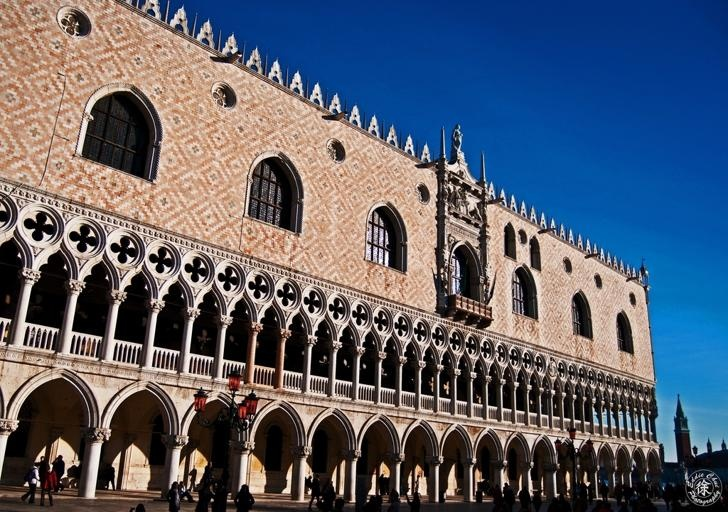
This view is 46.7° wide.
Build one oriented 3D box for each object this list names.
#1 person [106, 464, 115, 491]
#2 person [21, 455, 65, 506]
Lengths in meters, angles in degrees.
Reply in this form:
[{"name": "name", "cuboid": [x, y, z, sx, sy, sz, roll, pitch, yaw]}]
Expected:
[{"name": "person", "cuboid": [-8.838, 7.764, 29.566, 0.246, 0.877, 0.626, 3, -27, -5]}, {"name": "person", "cuboid": [-9.933, 7.040, 26.048, 0.804, 1.510, 0.855, 6, -30, -2]}]
